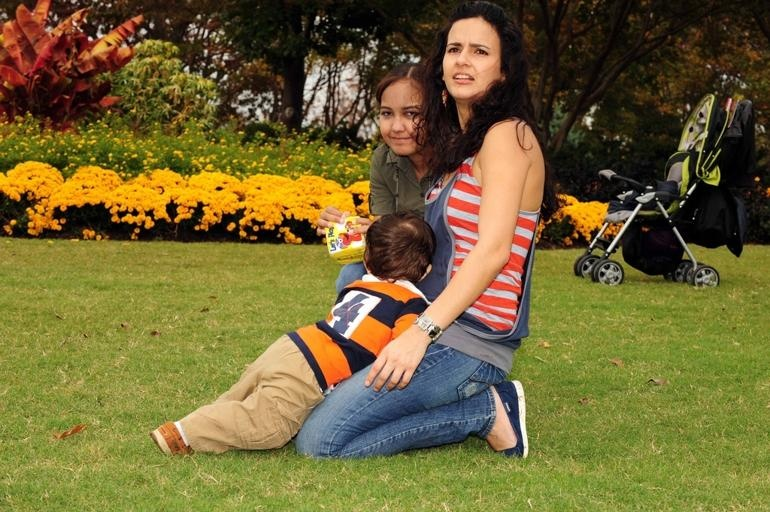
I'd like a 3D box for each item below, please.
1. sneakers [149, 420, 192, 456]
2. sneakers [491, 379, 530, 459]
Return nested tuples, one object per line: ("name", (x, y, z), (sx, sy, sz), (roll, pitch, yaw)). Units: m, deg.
("sneakers", (-1.641, 1.407, 6.742), (0.212, 0.274, 0.205), (-39, -2, -22))
("sneakers", (1.037, 1.263, 6.882), (0.216, 0.621, 0.257), (-15, -1, 42))
